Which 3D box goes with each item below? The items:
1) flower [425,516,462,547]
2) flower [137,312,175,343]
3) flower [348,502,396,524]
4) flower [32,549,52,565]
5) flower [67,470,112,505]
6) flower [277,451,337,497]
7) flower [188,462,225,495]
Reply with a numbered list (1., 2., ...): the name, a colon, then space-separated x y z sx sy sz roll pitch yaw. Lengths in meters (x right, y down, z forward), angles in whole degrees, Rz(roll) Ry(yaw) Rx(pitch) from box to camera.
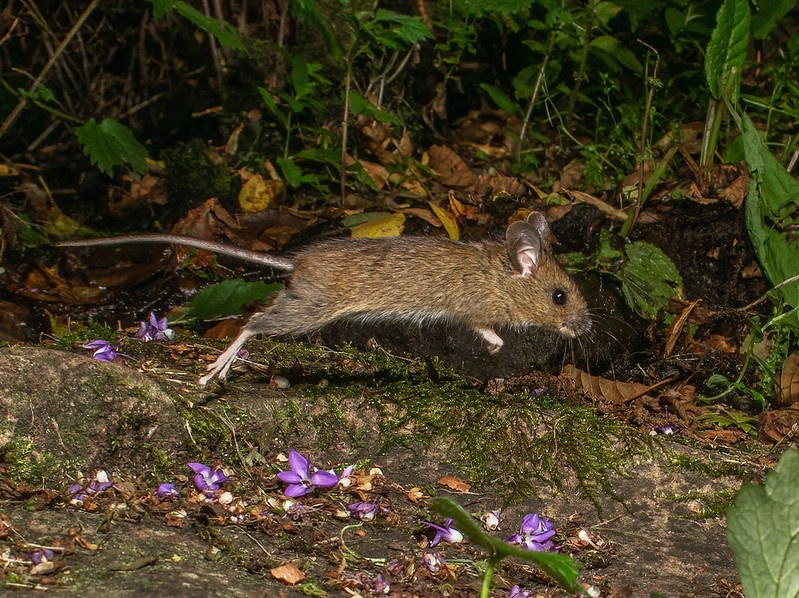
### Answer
1. flower: 0.246 1.300 4.252 0.201 0.204 0.150 -8 62 -11
2. flower: -1.798 0.219 5.436 0.270 0.117 0.240 18 35 23
3. flower: -0.182 1.216 4.315 0.198 0.166 0.061 8 81 1
4. flower: -1.666 1.175 3.460 0.087 0.035 0.066 -6 58 -10
5. flower: -1.674 0.994 3.983 0.131 0.088 0.229 42 62 19
6. flower: -0.561 0.990 4.316 0.306 0.165 0.254 -15 61 -15
7. flower: -1.092 0.993 4.217 0.169 0.146 0.191 -18 62 -16
